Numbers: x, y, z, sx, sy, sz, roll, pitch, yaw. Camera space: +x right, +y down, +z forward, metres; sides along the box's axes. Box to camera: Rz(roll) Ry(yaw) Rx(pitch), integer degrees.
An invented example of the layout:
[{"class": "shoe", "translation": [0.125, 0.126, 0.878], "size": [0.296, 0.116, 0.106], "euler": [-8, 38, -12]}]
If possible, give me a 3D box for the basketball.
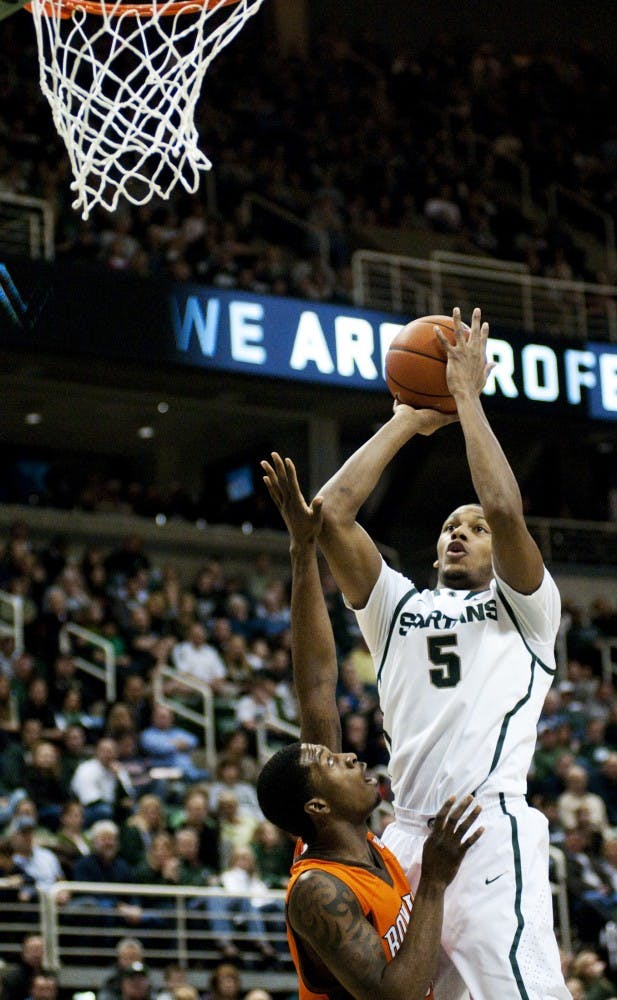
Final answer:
[{"class": "basketball", "translation": [0.310, -0.383, 3.934], "size": [0.195, 0.300, 0.380], "euler": [4, -4, 1]}]
